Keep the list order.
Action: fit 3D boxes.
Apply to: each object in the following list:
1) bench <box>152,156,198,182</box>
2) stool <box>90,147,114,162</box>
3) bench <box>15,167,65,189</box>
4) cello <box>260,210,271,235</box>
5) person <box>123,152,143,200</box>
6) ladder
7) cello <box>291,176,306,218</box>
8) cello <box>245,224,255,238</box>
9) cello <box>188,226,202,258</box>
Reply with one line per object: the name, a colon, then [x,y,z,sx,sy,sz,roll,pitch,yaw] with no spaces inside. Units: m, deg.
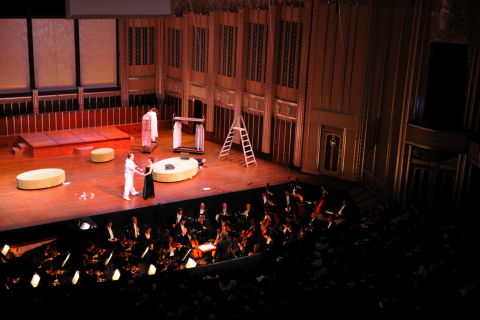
bench: [-3.032,0.481,16.267,1.989,0.958,1.389,-9,15,-25]
stool: [-6.559,-0.252,17.052,0.767,0.285,0.769,-10,25,-27]
bench: [-8.263,0.745,14.892,1.779,0.435,1.816,2,13,5]
cello: [0.968,2.256,13.144,0.330,0.845,0.175,-8,-33,26]
person: [-4.117,0.581,14.050,0.781,1.686,0.820,7,9,20]
ladder: [-0.063,-0.917,18.478,2.298,2.805,1.005,23,38,33]
cello: [2.351,1.493,14.442,0.449,0.365,1.477,-15,37,12]
cello: [0.382,2.524,12.645,0.117,0.505,0.262,17,-12,-39]
cello: [-1.540,2.806,12.226,0.362,0.327,0.926,-1,57,-24]
